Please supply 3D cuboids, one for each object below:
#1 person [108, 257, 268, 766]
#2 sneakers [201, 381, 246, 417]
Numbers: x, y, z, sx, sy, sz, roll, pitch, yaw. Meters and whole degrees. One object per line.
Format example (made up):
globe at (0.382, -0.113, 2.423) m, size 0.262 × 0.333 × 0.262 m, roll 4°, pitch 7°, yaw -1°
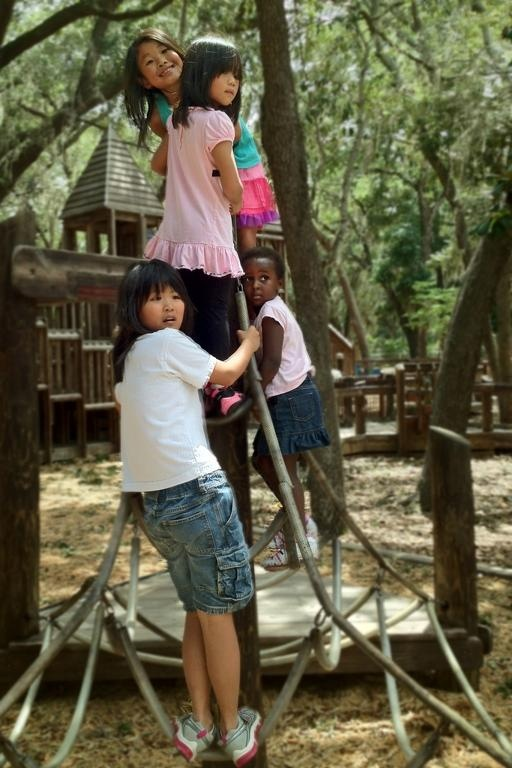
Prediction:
person at (-0.235, 0.372, 2.684) m, size 0.508 × 1.572 × 0.359 m, roll -1°, pitch 2°, yaw 18°
sneakers at (-0.113, 0.058, 2.882) m, size 0.070 × 0.087 × 0.209 m, roll -7°, pitch 0°, yaw 20°
